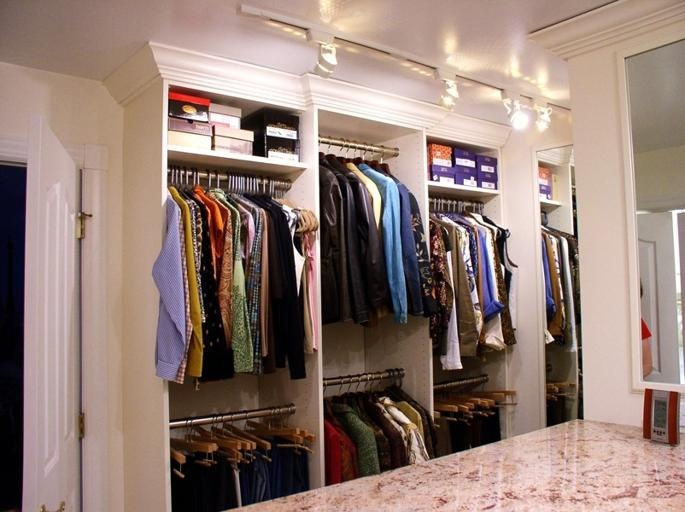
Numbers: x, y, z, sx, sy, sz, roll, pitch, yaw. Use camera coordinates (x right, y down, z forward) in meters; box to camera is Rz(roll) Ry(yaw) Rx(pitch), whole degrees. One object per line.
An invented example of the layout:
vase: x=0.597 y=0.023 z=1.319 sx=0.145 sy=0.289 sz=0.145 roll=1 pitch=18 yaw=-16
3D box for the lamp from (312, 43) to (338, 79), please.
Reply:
lamp: x=-0.103 y=-0.989 z=2.808 sx=0.094 sy=0.173 sz=0.161 roll=-2 pitch=-2 yaw=-36

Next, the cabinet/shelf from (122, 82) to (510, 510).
cabinet/shelf: x=-0.222 y=0.202 z=3.151 sx=2.078 sy=2.530 sz=0.585 roll=2 pitch=-9 yaw=-35
